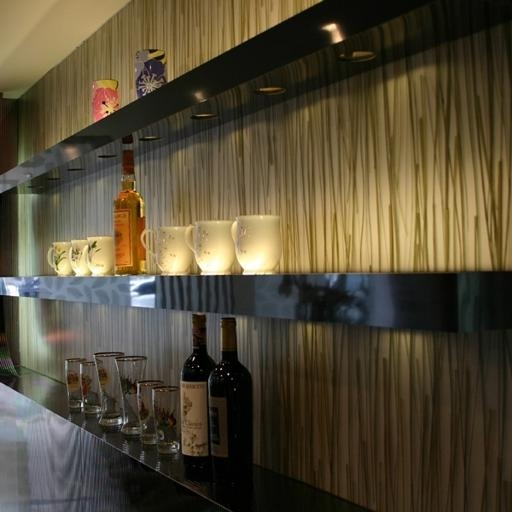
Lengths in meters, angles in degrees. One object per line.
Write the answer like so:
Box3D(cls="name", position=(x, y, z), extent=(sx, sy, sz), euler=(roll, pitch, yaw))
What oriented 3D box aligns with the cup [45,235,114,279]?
Box3D(cls="cup", position=(-0.498, 0.006, 1.636), extent=(0.233, 0.135, 0.136), euler=(-6, -8, 34))
